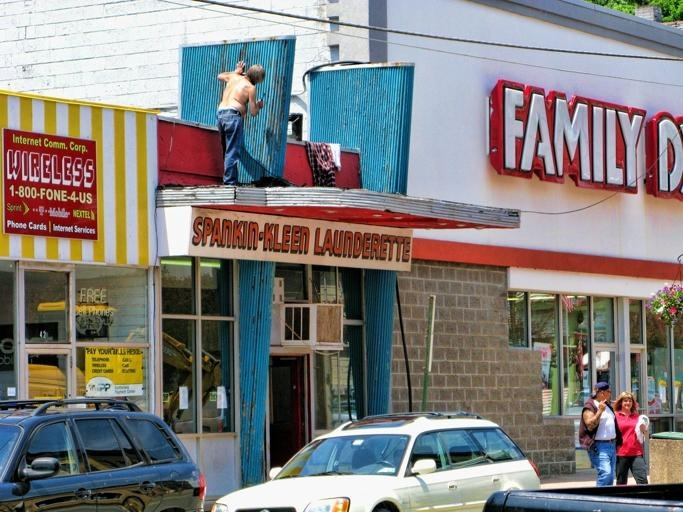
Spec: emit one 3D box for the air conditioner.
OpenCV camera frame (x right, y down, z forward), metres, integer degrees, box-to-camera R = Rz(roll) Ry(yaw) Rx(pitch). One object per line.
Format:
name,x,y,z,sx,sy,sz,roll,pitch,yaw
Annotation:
air conditioner,-0.694,1.391,31.681,1.603,1.145,0.835,7,-13,-30
